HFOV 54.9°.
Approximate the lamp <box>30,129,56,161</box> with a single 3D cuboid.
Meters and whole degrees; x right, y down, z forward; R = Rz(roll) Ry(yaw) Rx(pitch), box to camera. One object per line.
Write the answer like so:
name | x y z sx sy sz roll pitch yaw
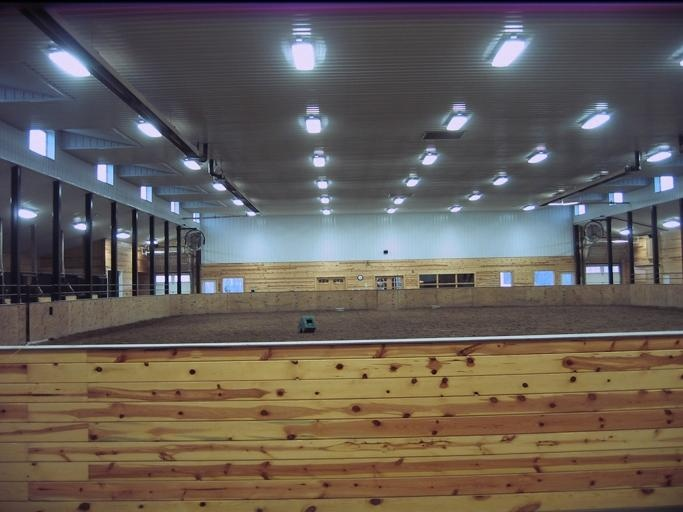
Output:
lamp | -7.580 -2.878 16.653 0.344 0.756 1.258 -4 -5 -8
